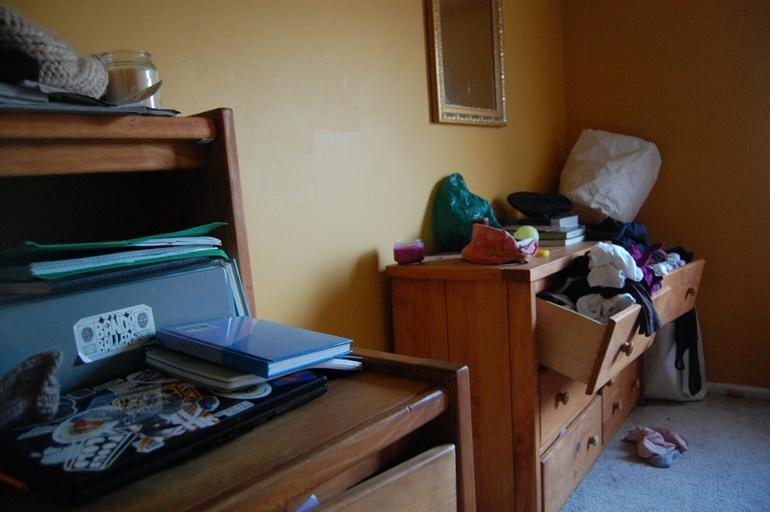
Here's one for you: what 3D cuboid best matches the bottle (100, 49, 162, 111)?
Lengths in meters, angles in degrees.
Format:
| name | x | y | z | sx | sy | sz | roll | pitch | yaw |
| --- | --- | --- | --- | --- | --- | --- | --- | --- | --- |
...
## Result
| name | x | y | z | sx | sy | sz | roll | pitch | yaw |
| --- | --- | --- | --- | --- | --- | --- | --- | --- | --- |
| bottle | -0.513 | -0.363 | 1.127 | 0.111 | 0.125 | 0.193 | -10 | 13 | -21 |

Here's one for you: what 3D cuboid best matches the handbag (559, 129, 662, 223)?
| name | x | y | z | sx | sy | sz | roll | pitch | yaw |
| --- | --- | --- | --- | --- | --- | --- | --- | --- | --- |
| handbag | 1.102 | -0.380 | 2.706 | 0.380 | 0.268 | 0.494 | 19 | 38 | 33 |

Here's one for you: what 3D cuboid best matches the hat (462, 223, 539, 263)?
| name | x | y | z | sx | sy | sz | roll | pitch | yaw |
| --- | --- | --- | --- | --- | --- | --- | --- | --- | --- |
| hat | 0.399 | -0.056 | 1.955 | 0.187 | 0.088 | 0.149 | 1 | 8 | 26 |

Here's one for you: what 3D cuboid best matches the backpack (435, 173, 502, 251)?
| name | x | y | z | sx | sy | sz | roll | pitch | yaw |
| --- | --- | --- | --- | --- | --- | --- | --- | --- | --- |
| backpack | 0.288 | -0.182 | 2.216 | 0.230 | 0.320 | 0.329 | 1 | 1 | 7 |
